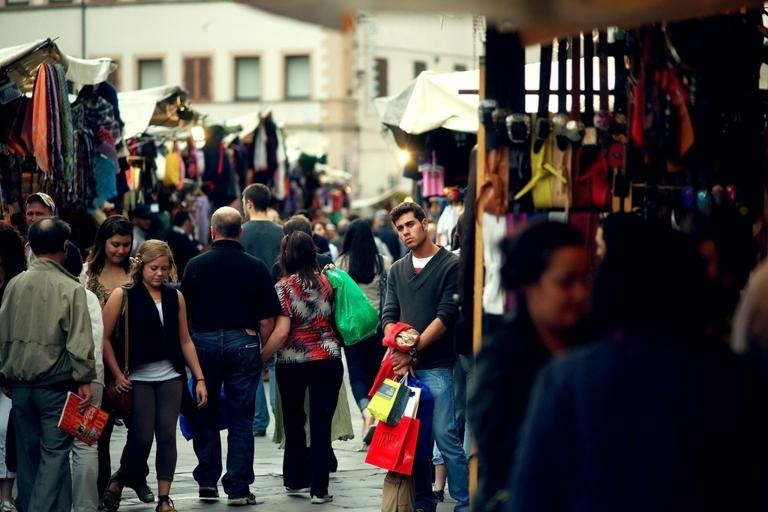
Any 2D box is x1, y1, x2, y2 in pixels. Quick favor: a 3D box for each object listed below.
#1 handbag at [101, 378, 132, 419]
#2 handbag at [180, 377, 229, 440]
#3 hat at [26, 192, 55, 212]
[{"bbox_3d":[-2.091,1.131,7.976,0.215,0.326,0.229,0,3,-20],"label":"handbag"},{"bbox_3d":[-1.487,1.257,8.459,0.455,0.742,0.365,0,-8,-3],"label":"handbag"},{"bbox_3d":[-2.940,-0.468,8.789,0.232,0.161,0.254,-1,4,-32],"label":"hat"}]
